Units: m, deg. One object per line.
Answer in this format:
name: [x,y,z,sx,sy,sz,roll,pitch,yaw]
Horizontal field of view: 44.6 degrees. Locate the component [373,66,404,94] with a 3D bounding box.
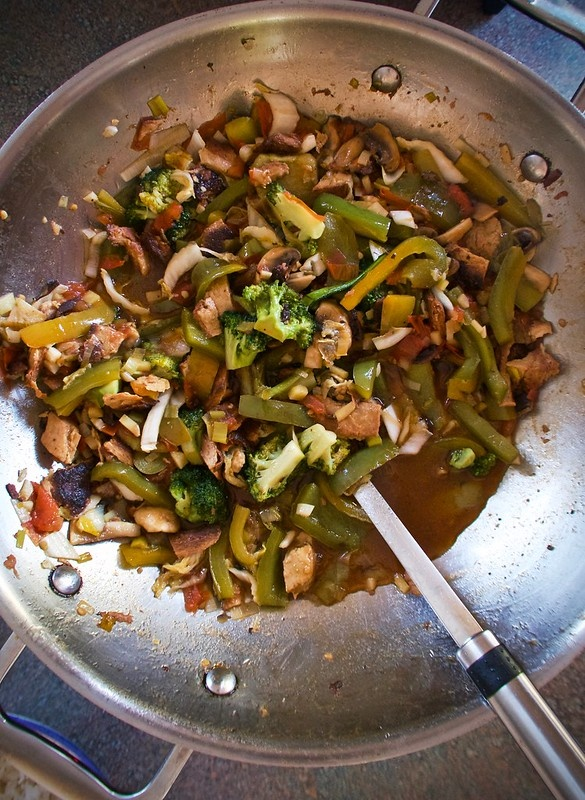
component: [0.252,-0.864,1.913,0.084,0.063,0.048,10,84,2]
